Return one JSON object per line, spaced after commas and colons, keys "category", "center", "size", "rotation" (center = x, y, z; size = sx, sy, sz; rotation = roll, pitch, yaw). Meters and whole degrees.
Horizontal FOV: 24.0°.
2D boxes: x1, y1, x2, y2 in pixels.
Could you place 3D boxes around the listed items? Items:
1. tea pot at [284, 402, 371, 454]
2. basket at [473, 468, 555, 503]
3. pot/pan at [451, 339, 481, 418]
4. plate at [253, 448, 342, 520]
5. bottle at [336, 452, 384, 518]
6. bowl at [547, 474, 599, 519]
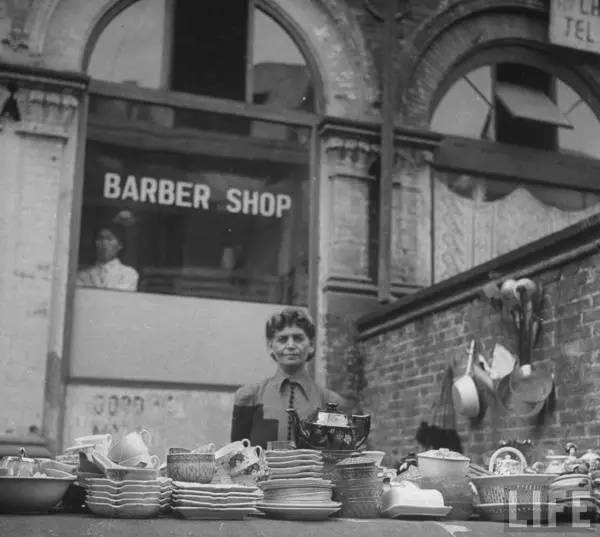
{"category": "tea pot", "center": [0.230, 1.235, 10.869], "size": [0.492, 0.264, 0.386], "rotation": [2, -8, -4]}
{"category": "basket", "center": [1.558, 1.614, 10.354], "size": [0.598, 0.221, 0.150], "rotation": [0, -10, 9]}
{"category": "pot/pan", "center": [1.571, 1.051, 13.437], "size": [0.185, 0.784, 0.214], "rotation": [0, -6, -25]}
{"category": "plate", "center": [-0.011, 1.555, 10.125], "size": [0.590, 0.497, 0.240], "rotation": [2, -10, 0]}
{"category": "bottle", "center": [0.423, 1.586, 10.289], "size": [0.383, 0.566, 0.388], "rotation": [0, -14, 0]}
{"category": "bowl", "center": [2.055, 1.698, 10.477], "size": [0.385, 0.340, 0.212], "rotation": [4, -10, -14]}
